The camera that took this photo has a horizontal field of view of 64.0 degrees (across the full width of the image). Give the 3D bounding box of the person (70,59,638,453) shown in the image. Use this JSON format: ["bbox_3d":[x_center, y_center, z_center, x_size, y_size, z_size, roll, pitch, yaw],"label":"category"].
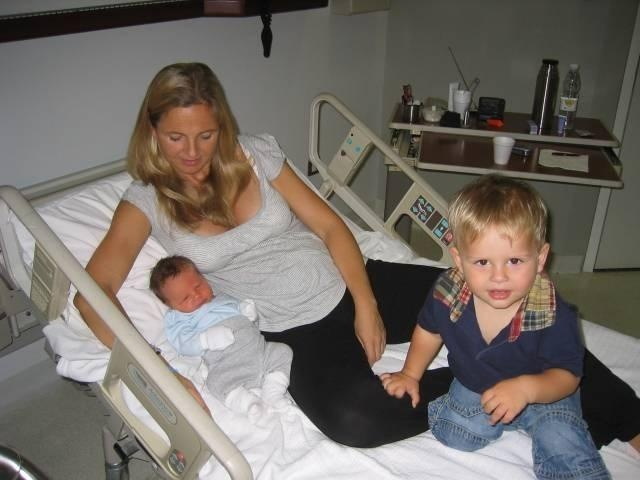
[{"bbox_3d":[-0.170,0.073,1.873,1.882,0.982,1.099,23,47,33],"label":"person"}]

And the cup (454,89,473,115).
[{"bbox_3d":[0.868,-0.861,3.178,0.122,0.154,0.133,-1,17,0],"label":"cup"}]

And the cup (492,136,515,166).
[{"bbox_3d":[0.960,-0.481,2.765,0.133,0.153,0.138,1,11,0],"label":"cup"}]

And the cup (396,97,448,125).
[{"bbox_3d":[0.688,-0.818,3.239,0.173,0.171,0.359,7,16,43],"label":"cup"}]
